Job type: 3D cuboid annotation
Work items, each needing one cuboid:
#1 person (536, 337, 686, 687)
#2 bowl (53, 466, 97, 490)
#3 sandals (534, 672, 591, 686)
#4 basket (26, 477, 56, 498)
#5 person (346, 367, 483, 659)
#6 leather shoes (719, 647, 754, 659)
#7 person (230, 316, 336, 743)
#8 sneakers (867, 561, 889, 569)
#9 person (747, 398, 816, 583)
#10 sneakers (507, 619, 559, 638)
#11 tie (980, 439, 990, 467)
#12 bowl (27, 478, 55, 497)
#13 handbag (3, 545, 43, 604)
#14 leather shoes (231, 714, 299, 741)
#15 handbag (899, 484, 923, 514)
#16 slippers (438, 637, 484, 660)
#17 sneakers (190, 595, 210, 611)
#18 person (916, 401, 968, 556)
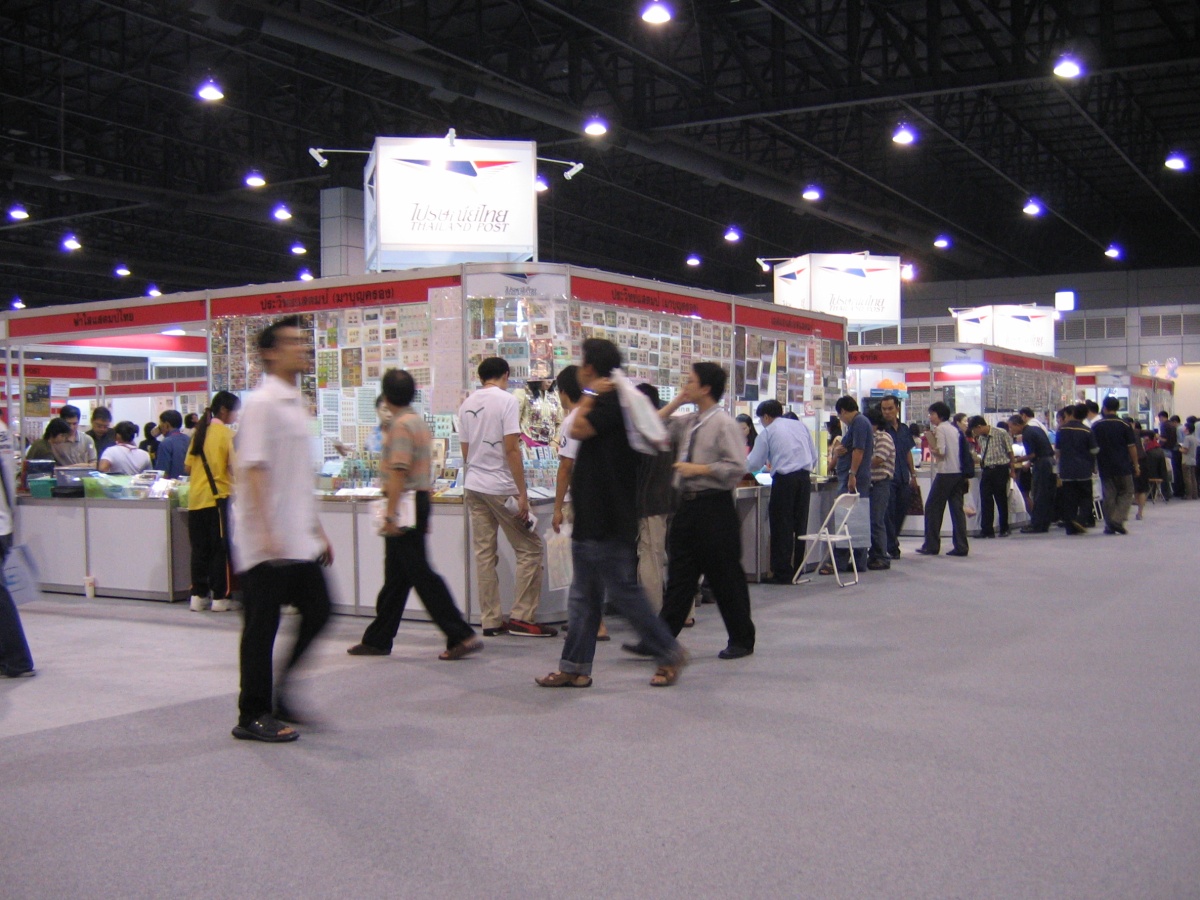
[{"bbox_3d":[0.053,0.334,5.063,0.727,1.829,0.311,0,2,-5],"label":"person"},{"bbox_3d":[-4.572,0.226,8.489,0.329,0.232,0.180,2,1,-20],"label":"bowl"},{"bbox_3d":[-0.195,1.218,5.149,0.265,0.082,0.103,5,-10,-12],"label":"sandals"},{"bbox_3d":[-4.904,0.311,8.597,0.267,0.197,0.185,0,-2,13],"label":"basket"},{"bbox_3d":[-1.115,0.384,5.771,0.757,1.716,0.518,2,3,40],"label":"person"},{"bbox_3d":[0.812,1.204,5.783,0.193,0.084,0.070,9,-14,-33],"label":"leather shoes"},{"bbox_3d":[-1.427,0.338,4.316,0.394,1.864,0.444,2,3,40],"label":"person"},{"bbox_3d":[2.746,1.132,9.627,0.206,0.091,0.076,-1,2,2],"label":"sneakers"},{"bbox_3d":[1.622,0.385,8.705,0.376,1.628,0.714,2,3,41],"label":"person"},{"bbox_3d":[-0.454,1.186,6.528,0.342,0.142,0.129,2,-6,4],"label":"sneakers"},{"bbox_3d":[4.887,0.048,12.405,0.094,0.353,0.269,1,2,19],"label":"tie"},{"bbox_3d":[-4.897,0.335,8.551,0.201,0.201,0.196,1,-5,0],"label":"bowl"},{"bbox_3d":[-3.266,0.706,5.520,0.156,0.355,0.238,-1,2,-25],"label":"handbag"},{"bbox_3d":[-1.462,1.220,4.315,0.285,0.119,0.119,-1,-5,8],"label":"leather shoes"},{"bbox_3d":[3.378,0.545,10.672,0.129,0.343,0.314,-5,-2,36],"label":"handbag"},{"bbox_3d":[-0.832,1.157,5.734,0.292,0.129,0.108,-10,-11,18],"label":"slippers"},{"bbox_3d":[-3.072,1.174,7.527,0.080,0.110,0.158,3,6,3],"label":"sneakers"},{"bbox_3d":[3.825,0.314,10.852,0.503,1.653,1.029,1,2,19],"label":"person"}]
